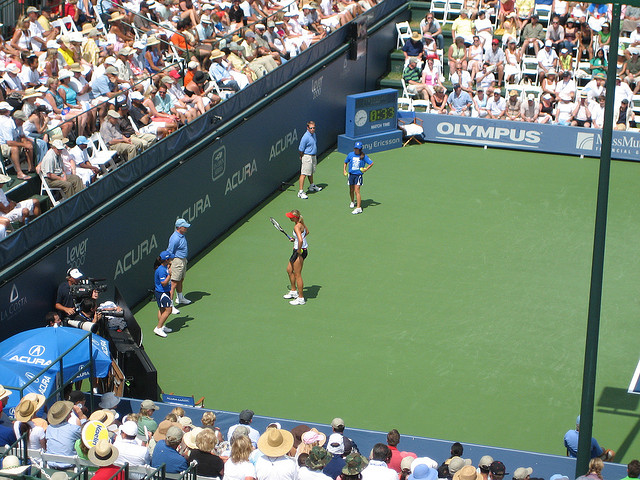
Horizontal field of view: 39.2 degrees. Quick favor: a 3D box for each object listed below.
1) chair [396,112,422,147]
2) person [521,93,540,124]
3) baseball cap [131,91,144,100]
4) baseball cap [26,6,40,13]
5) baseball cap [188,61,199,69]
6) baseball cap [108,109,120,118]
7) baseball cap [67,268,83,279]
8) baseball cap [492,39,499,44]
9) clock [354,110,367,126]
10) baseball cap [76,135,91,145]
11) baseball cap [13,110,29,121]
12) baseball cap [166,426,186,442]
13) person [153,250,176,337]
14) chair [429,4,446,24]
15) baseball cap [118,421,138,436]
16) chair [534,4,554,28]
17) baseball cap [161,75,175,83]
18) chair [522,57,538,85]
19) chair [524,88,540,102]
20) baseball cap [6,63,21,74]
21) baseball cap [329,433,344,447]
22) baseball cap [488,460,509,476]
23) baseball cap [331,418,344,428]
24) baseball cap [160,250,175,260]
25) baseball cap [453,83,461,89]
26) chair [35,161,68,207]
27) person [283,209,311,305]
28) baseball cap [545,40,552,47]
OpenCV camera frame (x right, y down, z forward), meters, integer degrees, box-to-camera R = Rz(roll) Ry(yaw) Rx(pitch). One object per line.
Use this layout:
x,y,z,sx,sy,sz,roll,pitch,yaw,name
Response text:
2.677,-3.333,27.059,0.697,0.950,0.817,-2,19,-3,chair
6.199,-3.970,26.786,0.622,1.136,0.818,1,39,11,person
-4.294,-3.366,21.084,0.269,0.144,0.287,-2,19,-11,baseball cap
-7.028,-5.574,21.942,0.190,0.114,0.311,7,12,34,baseball cap
-3.215,-4.408,22.808,0.256,0.162,0.291,0,19,-3,baseball cap
-4.620,-2.800,20.115,0.244,0.164,0.226,-3,19,-12,baseball cap
-4.610,0.625,16.754,0.332,0.144,0.232,7,19,16,baseball cap
5.468,-6.106,27.820,0.154,0.138,0.266,14,16,22,baseball cap
1.170,-3.565,26.327,0.345,0.376,0.036,-26,27,-21,clock
-4.953,-2.046,18.814,0.269,0.114,0.199,-1,28,0,baseball cap
-6.210,-2.548,18.613,0.224,0.087,0.175,17,24,0,baseball cap
-2.133,2.833,13.149,0.237,0.177,0.217,-2,19,-11,baseball cap
-3.153,1.060,17.988,0.442,1.829,0.721,-2,17,-10,person
4.062,-7.863,31.268,0.442,0.611,0.792,4,-10,5,chair
-2.874,2.842,13.480,0.237,0.149,0.175,36,30,27,baseball cap
7.339,-7.315,29.524,0.625,0.972,0.764,7,58,20,chair
-3.726,-3.874,21.883,0.192,0.172,0.507,6,19,13,baseball cap
6.640,-5.338,28.476,0.517,0.939,0.713,5,61,15,chair
6.393,-4.363,27.177,0.318,0.421,0.624,5,-12,11,chair
-6.779,-3.767,19.879,0.131,0.228,0.357,12,21,32,baseball cap
0.239,2.993,13.499,0.202,0.123,0.248,1,19,-1,baseball cap
2.627,3.387,13.253,0.254,0.200,0.218,0,18,-6,baseball cap
0.284,2.880,14.082,0.180,0.149,0.244,1,18,-1,baseball cap
-2.997,0.331,17.615,0.144,0.089,0.230,26,28,38,baseball cap
4.138,-4.607,27.080,0.157,0.130,0.165,-5,16,-15,baseball cap
-5.489,-1.099,17.997,0.704,0.723,0.453,8,19,19,chair
-0.520,0.330,19.225,0.484,2.027,1.149,0,17,-2,person
7.131,-6.092,28.111,0.174,0.189,0.187,22,43,6,baseball cap
